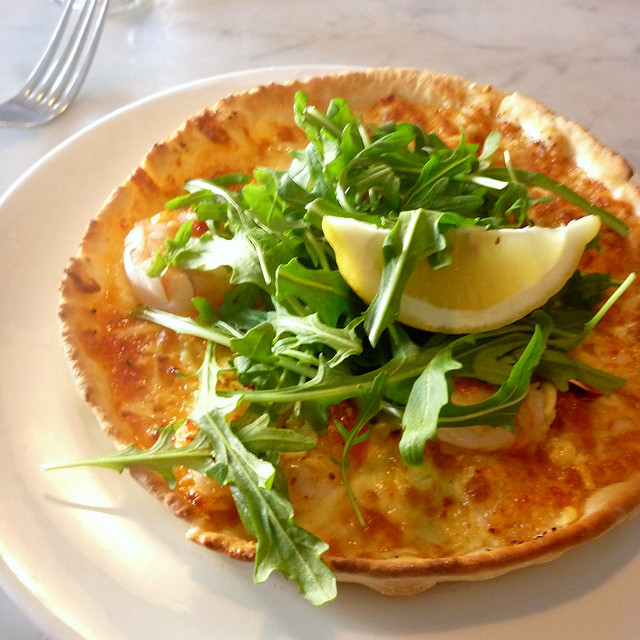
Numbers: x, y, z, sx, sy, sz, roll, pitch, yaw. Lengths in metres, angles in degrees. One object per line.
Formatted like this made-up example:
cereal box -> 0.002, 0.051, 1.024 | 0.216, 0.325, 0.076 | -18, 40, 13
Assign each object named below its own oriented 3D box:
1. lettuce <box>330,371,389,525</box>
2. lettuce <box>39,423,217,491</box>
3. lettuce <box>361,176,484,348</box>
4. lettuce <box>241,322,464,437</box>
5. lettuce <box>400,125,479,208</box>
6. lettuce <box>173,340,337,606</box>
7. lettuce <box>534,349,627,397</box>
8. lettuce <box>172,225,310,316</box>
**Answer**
lettuce -> 0.086, 0.351, 2.016 | 0.146, 0.336, 0.419 | 10, 76, 9
lettuce -> -0.553, 0.375, 2.037 | 0.528, 0.070, 0.144 | -1, 90, 1
lettuce -> 0.300, -0.177, 2.144 | 0.273, 0.409, 0.592 | 11, 76, 9
lettuce -> 0.080, 0.171, 2.020 | 0.668, 0.071, 0.200 | -8, 45, 2
lettuce -> 0.382, -0.477, 2.266 | 0.340, 0.065, 0.182 | -36, 79, -17
lettuce -> -0.185, 0.410, 1.936 | 0.202, 0.319, 0.717 | -30, 74, 0
lettuce -> 0.763, 0.160, 2.141 | 0.354, 0.256, 0.081 | 2, 106, 4
lettuce -> -0.257, -0.186, 2.212 | 0.494, 0.083, 0.158 | 29, 111, 43
